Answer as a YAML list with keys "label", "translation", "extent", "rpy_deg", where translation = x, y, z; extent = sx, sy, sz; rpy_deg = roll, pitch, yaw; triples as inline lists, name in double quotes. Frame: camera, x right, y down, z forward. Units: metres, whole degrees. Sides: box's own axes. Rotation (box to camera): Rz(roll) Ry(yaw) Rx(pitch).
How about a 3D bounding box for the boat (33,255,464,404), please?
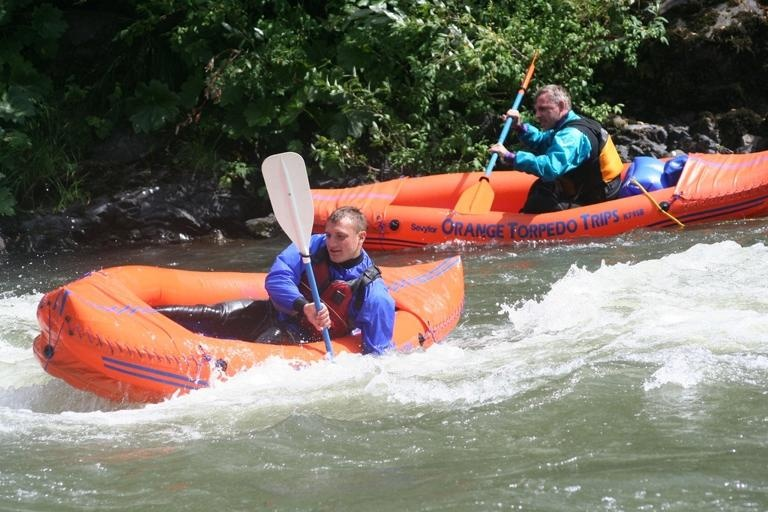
- label: "boat"
  translation: [-1.111, 0.569, 8.222]
  extent: [2.668, 0.554, 1.510]
  rpy_deg: [-4, 19, -16]

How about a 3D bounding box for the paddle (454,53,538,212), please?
- label: "paddle"
  translation: [1.402, -1.538, 12.252]
  extent: [0.380, 2.403, 0.098]
  rpy_deg: [28, -16, -1]

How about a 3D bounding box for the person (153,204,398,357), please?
- label: "person"
  translation: [-0.812, 0.169, 8.005]
  extent: [1.659, 0.802, 1.325]
  rpy_deg: [-4, 18, -41]

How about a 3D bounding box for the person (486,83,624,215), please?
- label: "person"
  translation: [1.989, -1.179, 10.958]
  extent: [1.160, 1.397, 0.987]
  rpy_deg: [0, 9, 19]

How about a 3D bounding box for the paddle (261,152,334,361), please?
- label: "paddle"
  translation: [-0.635, -0.049, 8.205]
  extent: [0.404, 2.054, 0.107]
  rpy_deg: [-17, 6, 1]
